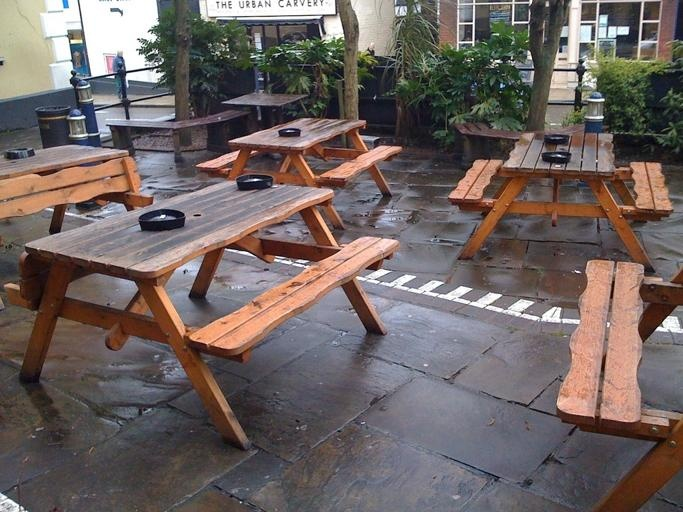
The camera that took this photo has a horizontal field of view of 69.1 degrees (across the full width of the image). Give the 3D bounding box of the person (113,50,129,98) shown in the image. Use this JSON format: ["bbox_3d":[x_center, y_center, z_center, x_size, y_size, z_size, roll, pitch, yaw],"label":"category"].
[{"bbox_3d":[-4.915,-3.937,11.226,0.306,0.857,0.218,9,35,-3],"label":"person"}]

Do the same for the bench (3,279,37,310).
[{"bbox_3d":[-2.194,0.269,3.385,0.466,0.143,0.068,8,29,26],"label":"bench"}]

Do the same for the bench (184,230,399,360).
[{"bbox_3d":[-0.288,0.200,3.244,0.586,0.399,1.768,18,23,31],"label":"bench"}]

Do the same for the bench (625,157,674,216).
[{"bbox_3d":[3.078,-0.679,4.989,0.522,0.132,1.371,2,25,21],"label":"bench"}]

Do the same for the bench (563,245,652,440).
[{"bbox_3d":[1.323,0.330,2.460,0.498,0.145,1.484,5,28,29],"label":"bench"}]
